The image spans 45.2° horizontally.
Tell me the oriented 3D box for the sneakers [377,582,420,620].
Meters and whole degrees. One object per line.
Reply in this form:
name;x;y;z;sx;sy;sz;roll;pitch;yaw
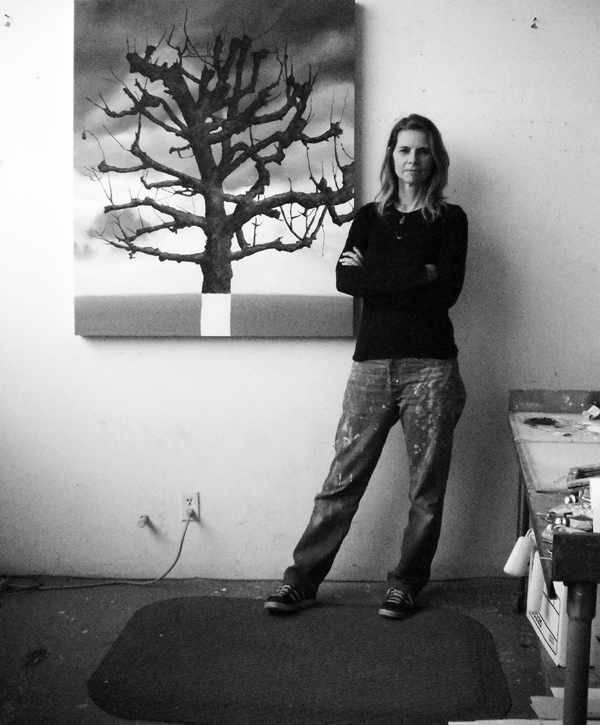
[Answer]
sneakers;0.300;0.750;2.275;0.057;0.084;0.177;-4;-22;17

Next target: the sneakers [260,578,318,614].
sneakers;-0.038;0.762;2.363;0.066;0.101;0.205;-6;-21;32

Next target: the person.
person;0.253;0.002;2.355;0.555;1.619;0.410;1;6;14
